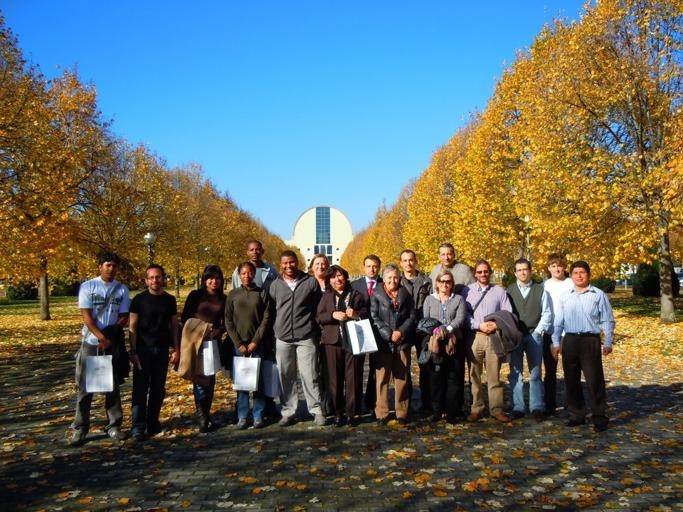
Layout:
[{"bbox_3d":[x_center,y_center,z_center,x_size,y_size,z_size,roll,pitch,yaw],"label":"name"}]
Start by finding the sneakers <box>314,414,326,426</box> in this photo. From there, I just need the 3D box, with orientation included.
[{"bbox_3d":[-0.362,2.767,9.231,0.227,0.161,0.205,0,0,12],"label":"sneakers"}]

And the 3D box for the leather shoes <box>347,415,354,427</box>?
[{"bbox_3d":[0.178,2.774,9.200,0.125,0.135,0.155,0,0,0],"label":"leather shoes"}]

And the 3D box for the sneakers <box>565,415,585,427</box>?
[{"bbox_3d":[3.862,2.742,9.062,0.409,0.185,0.139,11,-12,-27],"label":"sneakers"}]

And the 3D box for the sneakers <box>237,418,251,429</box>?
[{"bbox_3d":[-1.629,2.801,9.159,0.245,0.130,0.262,0,0,-24],"label":"sneakers"}]

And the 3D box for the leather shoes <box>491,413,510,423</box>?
[{"bbox_3d":[2.713,2.735,9.285,0.285,0.149,0.192,0,0,18],"label":"leather shoes"}]

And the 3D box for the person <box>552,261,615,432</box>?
[{"bbox_3d":[3.985,1.443,9.056,0.925,2.904,0.558,0,0,28],"label":"person"}]

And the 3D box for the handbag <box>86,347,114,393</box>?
[{"bbox_3d":[-3.728,1.800,8.581,0.435,0.627,0.333,0,-7,-14],"label":"handbag"}]

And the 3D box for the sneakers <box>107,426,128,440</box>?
[{"bbox_3d":[-3.570,2.829,8.727,0.289,0.124,0.152,-2,-4,44],"label":"sneakers"}]

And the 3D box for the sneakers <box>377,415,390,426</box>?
[{"bbox_3d":[0.722,2.789,9.192,0.161,0.166,0.104,-2,-1,19],"label":"sneakers"}]

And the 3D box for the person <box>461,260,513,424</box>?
[{"bbox_3d":[2.534,1.436,9.474,0.725,2.687,0.662,0,0,13],"label":"person"}]

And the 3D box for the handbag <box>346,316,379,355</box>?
[{"bbox_3d":[0.332,1.328,8.993,0.444,0.708,0.272,-9,-27,-12],"label":"handbag"}]

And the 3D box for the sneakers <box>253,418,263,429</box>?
[{"bbox_3d":[-1.367,2.809,9.145,0.129,0.134,0.135,-8,-10,39],"label":"sneakers"}]

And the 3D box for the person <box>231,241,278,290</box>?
[{"bbox_3d":[-1.631,0.254,11.109,0.799,0.577,1.036,10,-14,22],"label":"person"}]

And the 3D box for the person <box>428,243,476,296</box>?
[{"bbox_3d":[2.081,0.239,10.464,0.866,0.947,0.493,0,7,29],"label":"person"}]

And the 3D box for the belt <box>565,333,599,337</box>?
[{"bbox_3d":[3.981,1.298,9.065,0.517,0.067,0.112,0,0,19],"label":"belt"}]

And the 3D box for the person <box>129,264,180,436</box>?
[{"bbox_3d":[-3.045,1.520,8.969,0.765,2.018,0.599,0,0,-23],"label":"person"}]

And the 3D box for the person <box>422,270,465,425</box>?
[{"bbox_3d":[1.773,1.521,9.278,0.698,2.398,0.593,0,0,3],"label":"person"}]

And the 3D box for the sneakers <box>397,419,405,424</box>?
[{"bbox_3d":[1.016,2.777,9.181,0.145,0.086,0.104,0,0,4],"label":"sneakers"}]
